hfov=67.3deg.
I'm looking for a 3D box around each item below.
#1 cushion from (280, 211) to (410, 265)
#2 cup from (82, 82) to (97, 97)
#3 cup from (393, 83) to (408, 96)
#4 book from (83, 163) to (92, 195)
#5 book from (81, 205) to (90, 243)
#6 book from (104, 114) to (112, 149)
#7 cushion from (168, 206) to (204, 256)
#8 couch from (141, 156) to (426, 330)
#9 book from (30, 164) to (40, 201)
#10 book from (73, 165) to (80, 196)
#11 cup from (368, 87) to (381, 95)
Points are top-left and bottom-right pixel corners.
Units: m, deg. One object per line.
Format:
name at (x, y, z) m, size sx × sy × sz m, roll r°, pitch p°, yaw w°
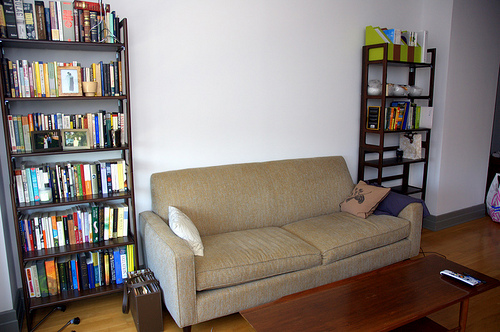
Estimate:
cushion at (1.168, 0.836, 4.080) m, size 1.146 × 0.225 × 0.629 m, roll -15°, pitch -12°, yaw -1°
cup at (-1.455, -0.701, 3.468) m, size 0.129 × 0.128 × 0.133 m, roll 0°, pitch 6°, yaw 0°
cup at (1.956, -0.974, 4.852) m, size 0.328 × 0.154 × 0.093 m, roll -15°, pitch 16°, yaw -42°
book at (-1.523, 0.129, 3.527) m, size 0.070 × 0.283 × 0.023 m, roll -11°, pitch 14°, yaw -24°
book at (-1.560, 0.566, 3.551) m, size 0.055 × 0.299 × 0.278 m, roll -5°, pitch 11°, yaw -30°
book at (-1.335, -0.337, 3.522) m, size 0.050 × 0.363 × 0.282 m, roll -6°, pitch 11°, yaw -27°
cushion at (-0.585, 0.582, 3.409) m, size 0.174 × 0.317 × 0.548 m, roll -11°, pitch 35°, yaw -40°
couch at (0.279, 0.622, 3.867) m, size 2.600 × 1.198 × 0.936 m, roll -9°, pitch 13°, yaw -21°
book at (-1.942, 0.161, 3.394) m, size 0.037 × 0.333 × 0.275 m, roll -10°, pitch 11°, yaw -24°
book at (-1.614, 0.139, 3.494) m, size 0.030 × 0.282 × 0.040 m, roll -1°, pitch 13°, yaw 17°
cup at (1.575, -0.934, 4.708) m, size 0.110 × 0.079 × 0.095 m, roll -6°, pitch 14°, yaw -25°
